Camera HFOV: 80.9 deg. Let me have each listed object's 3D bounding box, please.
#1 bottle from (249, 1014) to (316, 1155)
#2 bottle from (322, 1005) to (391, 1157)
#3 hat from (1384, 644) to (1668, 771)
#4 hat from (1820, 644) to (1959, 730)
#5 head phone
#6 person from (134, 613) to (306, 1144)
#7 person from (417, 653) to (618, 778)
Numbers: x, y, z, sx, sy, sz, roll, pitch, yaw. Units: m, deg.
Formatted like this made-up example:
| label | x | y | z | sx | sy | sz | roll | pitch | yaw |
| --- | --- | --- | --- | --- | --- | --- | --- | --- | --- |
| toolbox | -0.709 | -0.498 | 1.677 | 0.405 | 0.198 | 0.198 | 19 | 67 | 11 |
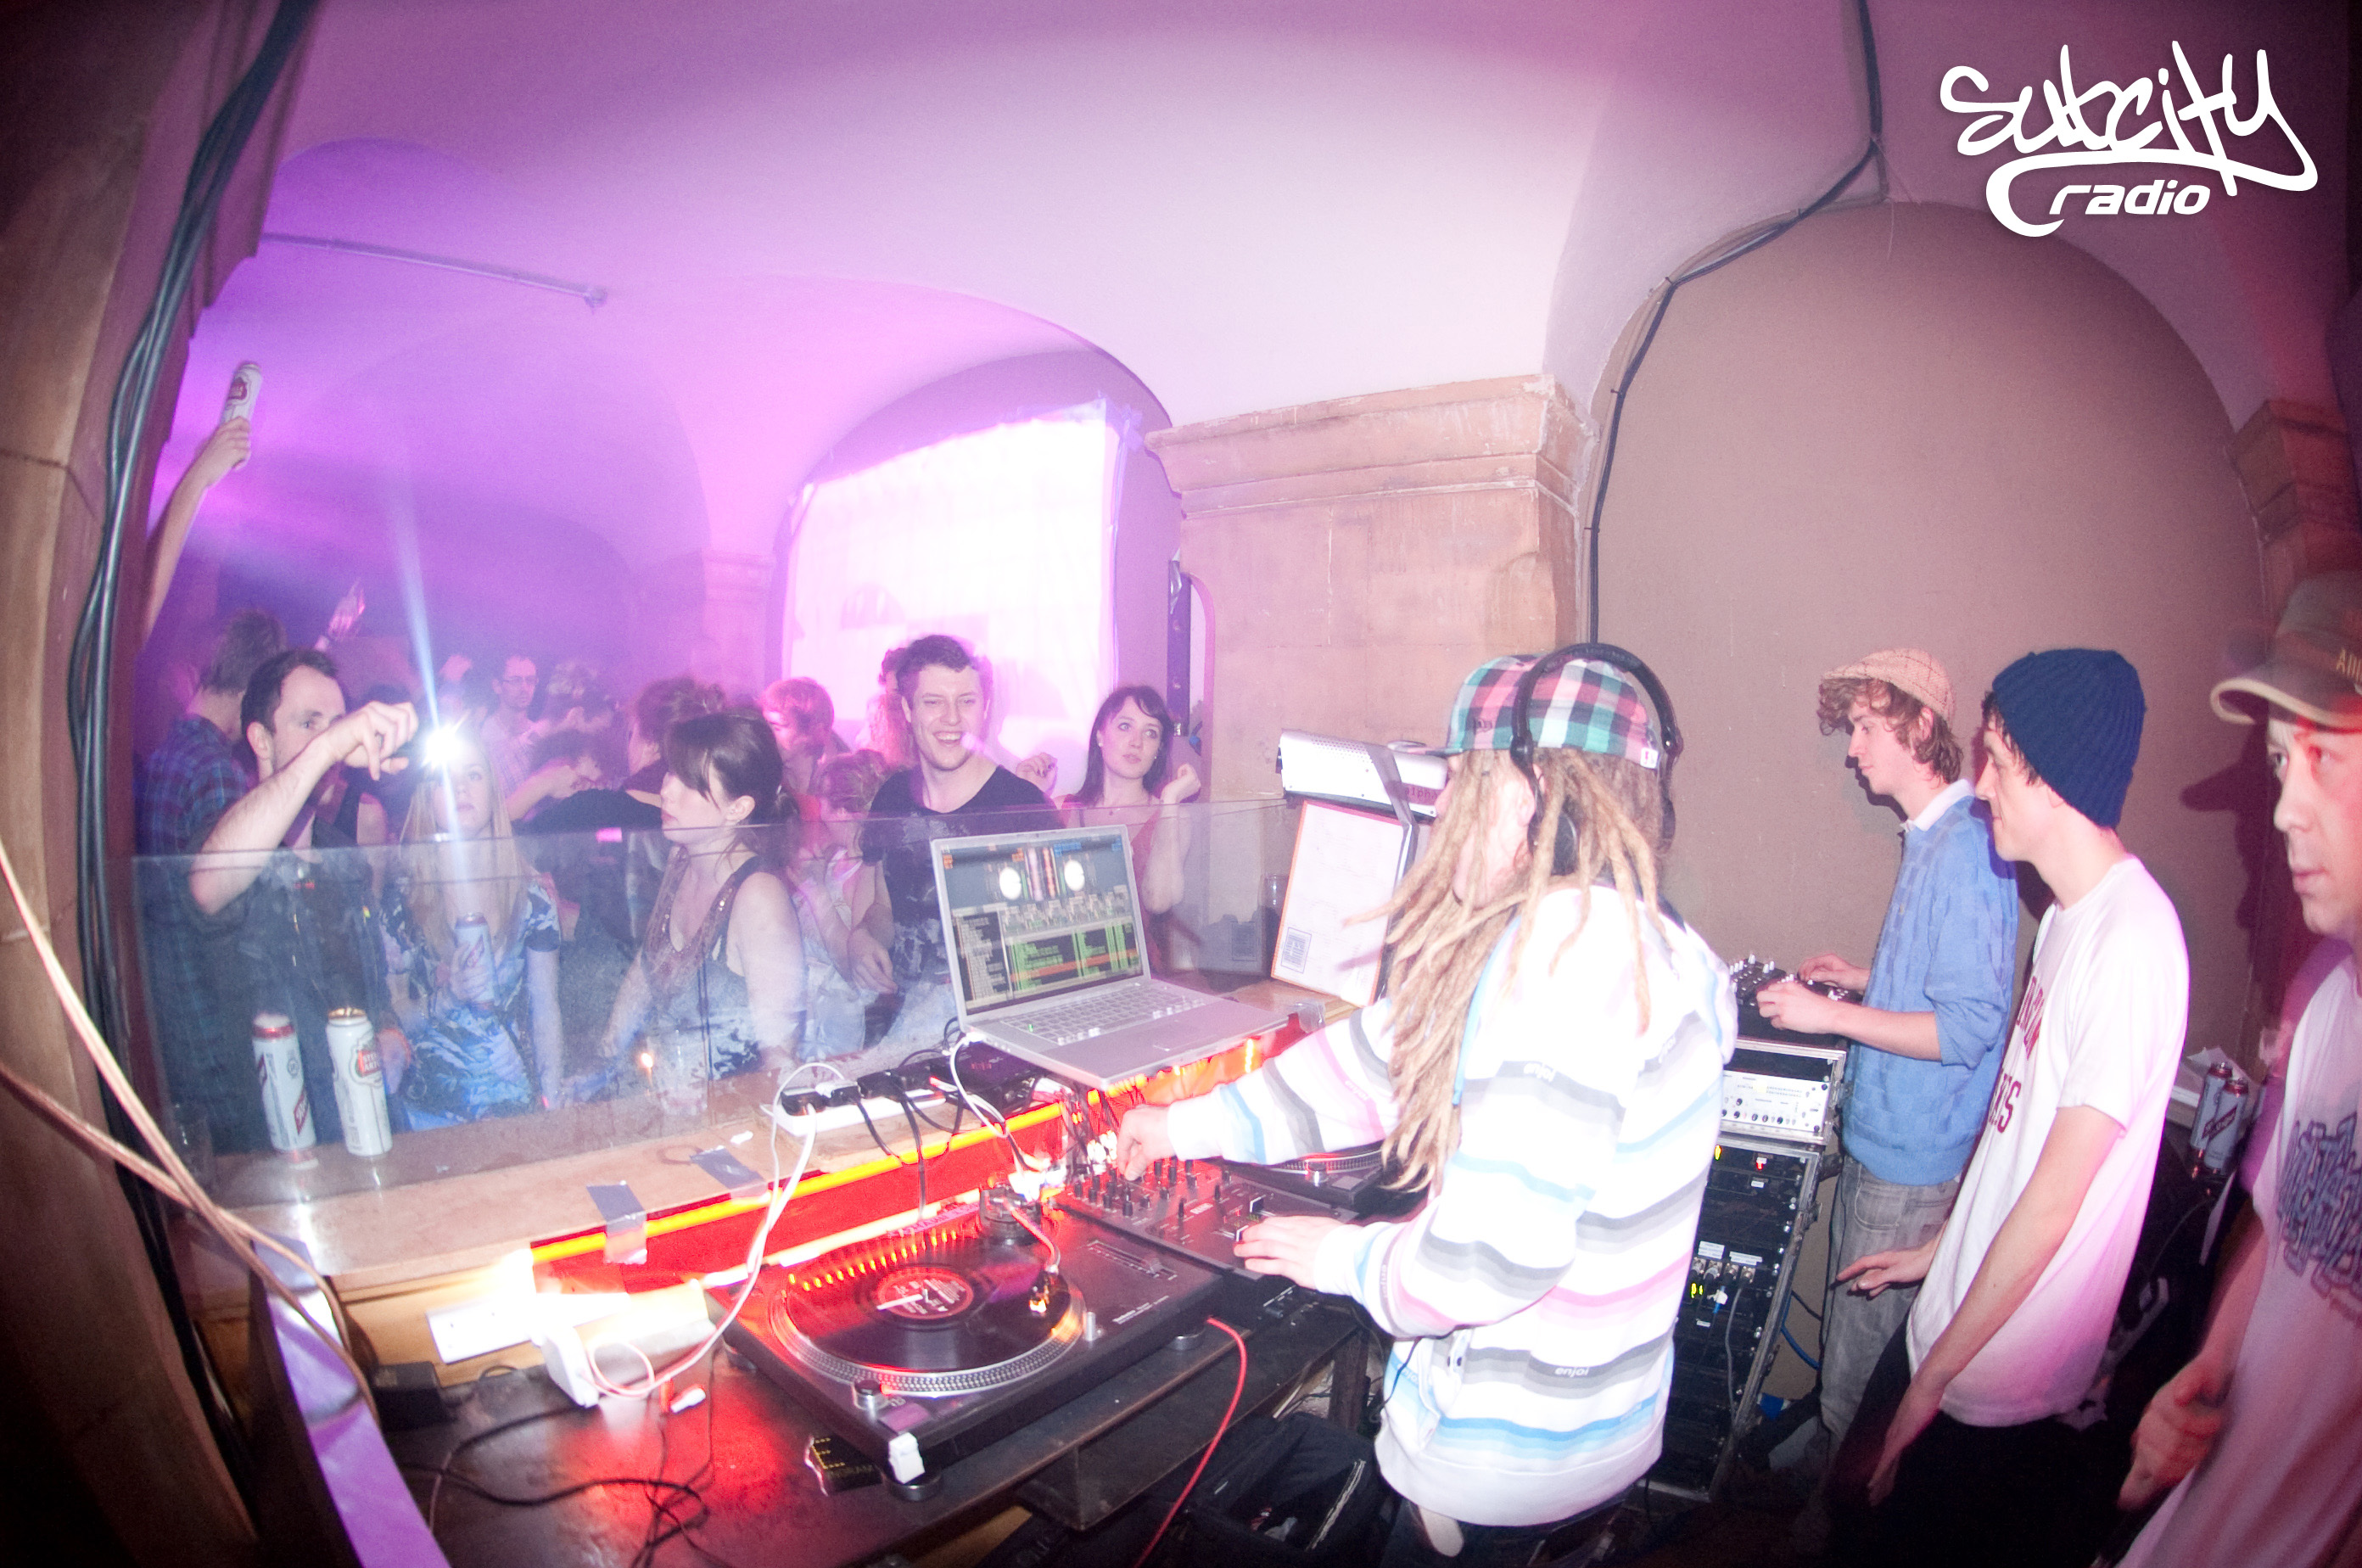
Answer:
| label | x | y | z | sx | sy | sz | roll | pitch | yaw |
| --- | --- | --- | --- | --- | --- | --- | --- | --- | --- |
| bottle | -1.814 | 0.607 | 2.811 | 0.093 | 0.300 | 0.133 | -6 | 7 | -33 |
| bottle | -1.681 | 0.601 | 2.852 | 0.098 | 0.322 | 0.188 | -6 | 7 | -32 |
| hat | 0.722 | -0.154 | 2.782 | 0.551 | 0.232 | 0.413 | 2 | -8 | 37 |
| hat | 2.042 | -0.302 | 4.013 | 0.311 | 0.169 | 0.244 | 25 | -8 | 6 |
| head phone | 0.782 | -0.051 | 2.734 | 0.321 | 0.444 | 0.154 | 4 | 0 | 0 |
| person | -2.417 | 0.182 | 3.519 | 0.367 | 1.050 | 1.926 | -6 | 7 | -35 |
| person | -3.645 | -0.370 | 7.716 | 1.052 | 0.461 | 1.061 | 12 | 13 | 40 |
